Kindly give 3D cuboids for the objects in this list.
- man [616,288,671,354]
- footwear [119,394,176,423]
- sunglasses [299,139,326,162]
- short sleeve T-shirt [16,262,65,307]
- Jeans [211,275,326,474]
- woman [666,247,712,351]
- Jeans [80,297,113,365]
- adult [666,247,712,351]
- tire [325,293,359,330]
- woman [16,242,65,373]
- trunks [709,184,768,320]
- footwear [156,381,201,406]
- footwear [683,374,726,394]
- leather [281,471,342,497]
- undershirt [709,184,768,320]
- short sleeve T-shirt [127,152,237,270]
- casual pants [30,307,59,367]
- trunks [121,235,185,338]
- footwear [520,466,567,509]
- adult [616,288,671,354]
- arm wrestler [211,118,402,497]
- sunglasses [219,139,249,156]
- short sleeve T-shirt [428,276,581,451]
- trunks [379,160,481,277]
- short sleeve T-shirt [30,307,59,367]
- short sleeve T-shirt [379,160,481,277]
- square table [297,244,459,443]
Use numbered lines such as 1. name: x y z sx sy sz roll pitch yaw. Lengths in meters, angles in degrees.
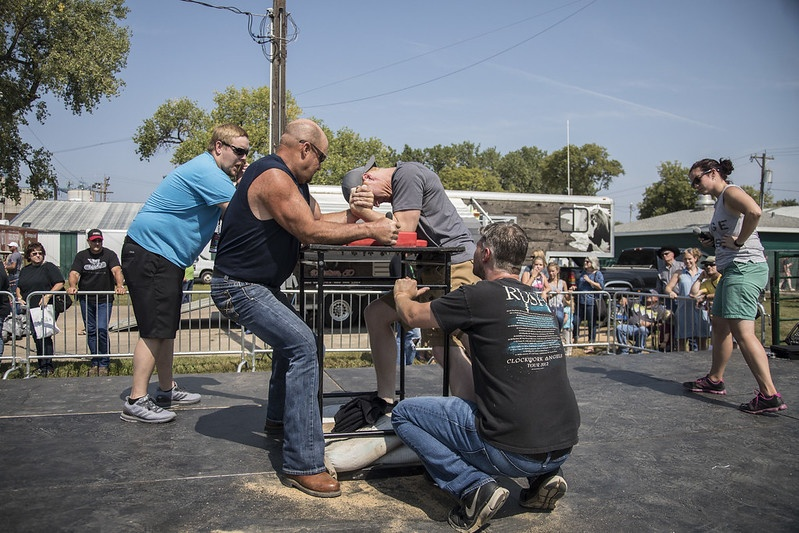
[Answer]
1. man: 4.118 0.978 11.217 0.868 1.246 0.656 13 -1 -2
2. footwear: -2.458 1.378 6.417 0.546 0.260 0.232 3 1 -2
3. sunglasses: -0.721 -0.974 5.473 0.172 0.048 0.174 39 11 36
4. short sleeve T-shirt: -5.641 0.248 10.148 0.635 0.639 0.365 1 20 -14
5. Jeans: -1.082 0.913 5.828 1.171 2.000 1.243 -1 -7 8
6. woman: 4.711 0.706 10.548 0.659 1.959 0.671 -2 9 26
7. Jeans: -4.493 0.980 9.655 0.390 1.097 0.312 -7 -7 -12
8. adult: 4.738 0.699 10.569 0.672 1.962 0.648 -4 11 15
9. tire: -1.046 0.765 11.770 0.629 0.655 0.250 7 8 13
10. woman: -5.606 0.653 10.038 0.650 2.027 0.633 0 6 7
11. trunks: 3.616 -0.086 6.959 0.575 1.277 0.396 6 10 27
12. footwear: -2.336 1.333 6.875 0.444 0.221 0.190 0 1 -22
13. footwear: 3.496 1.352 7.497 0.450 0.212 0.181 3 -5 18
14. leather: -0.696 1.716 5.178 0.395 0.181 0.185 -2 -2 21
15. undershirt: 3.616 -0.086 6.959 0.575 1.277 0.396 6 10 27
16. short sleeve T-shirt: -2.174 -0.623 6.605 0.851 1.162 0.844 11 11 -38
17. casual pants: -5.077 1.049 9.319 0.319 0.990 0.852 -4 10 -29
18. trunks: -2.488 0.012 6.536 0.562 1.005 0.685 2 38 -19
19. footwear: 1.106 1.766 5.092 0.194 0.221 0.489 9 -38 -7
20. adult: 4.118 0.982 11.218 0.872 1.252 0.656 13 -2 -3
21. arm wrestler: -0.773 0.297 5.816 1.716 3.027 1.469 -3 7 -41
22. sunglasses: -1.646 -1.188 6.492 0.149 0.046 0.146 34 15 35
23. short sleeve T-shirt: 1.059 0.639 5.337 1.035 1.406 1.204 -10 12 -22
24. trunks: 0.227 -0.553 5.980 0.662 0.886 0.651 -11 7 -20
25. short sleeve T-shirt: -5.103 0.967 9.293 0.234 0.925 0.578 -2 7 5
26. short sleeve T-shirt: 0.240 -0.526 6.003 0.664 0.948 0.645 -13 4 -16
27. square table: -0.091 0.609 5.760 1.519 1.517 1.527 1 -4 -20
